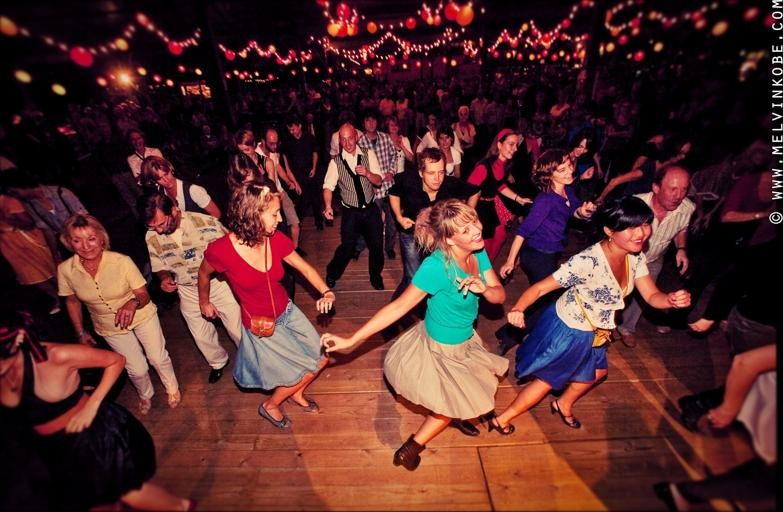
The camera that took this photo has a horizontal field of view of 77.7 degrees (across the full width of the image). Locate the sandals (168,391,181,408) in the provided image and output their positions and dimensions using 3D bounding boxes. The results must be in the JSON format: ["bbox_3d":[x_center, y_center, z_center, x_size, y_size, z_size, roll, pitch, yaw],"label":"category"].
[{"bbox_3d":[-2.675,1.762,5.984,0.090,0.253,0.168,1,53,-16],"label":"sandals"}]

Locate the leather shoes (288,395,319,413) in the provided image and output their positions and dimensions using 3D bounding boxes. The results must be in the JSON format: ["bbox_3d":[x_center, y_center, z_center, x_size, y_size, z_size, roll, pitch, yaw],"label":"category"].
[{"bbox_3d":[-1.058,1.797,5.867,0.384,0.103,0.150,17,37,8],"label":"leather shoes"}]

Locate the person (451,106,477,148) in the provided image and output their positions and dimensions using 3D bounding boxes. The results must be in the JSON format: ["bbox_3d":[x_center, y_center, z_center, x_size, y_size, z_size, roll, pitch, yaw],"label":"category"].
[{"bbox_3d":[1.414,-2.528,9.701,0.504,0.889,0.437,-8,28,-3],"label":"person"}]

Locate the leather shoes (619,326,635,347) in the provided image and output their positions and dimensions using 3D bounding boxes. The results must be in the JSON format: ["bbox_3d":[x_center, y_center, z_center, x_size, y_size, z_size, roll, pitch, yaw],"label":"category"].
[{"bbox_3d":[3.093,1.056,6.377,0.126,0.133,0.324,-11,51,1],"label":"leather shoes"}]

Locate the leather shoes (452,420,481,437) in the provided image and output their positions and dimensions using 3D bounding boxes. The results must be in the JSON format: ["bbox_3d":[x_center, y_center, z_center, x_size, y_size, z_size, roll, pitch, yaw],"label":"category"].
[{"bbox_3d":[0.870,1.969,5.576,0.361,0.149,0.131,6,19,17],"label":"leather shoes"}]

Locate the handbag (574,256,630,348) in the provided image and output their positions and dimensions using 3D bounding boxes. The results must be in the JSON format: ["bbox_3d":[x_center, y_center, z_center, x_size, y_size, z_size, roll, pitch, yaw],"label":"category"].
[{"bbox_3d":[2.194,0.515,5.101,0.682,0.906,0.311,-3,2,4],"label":"handbag"}]

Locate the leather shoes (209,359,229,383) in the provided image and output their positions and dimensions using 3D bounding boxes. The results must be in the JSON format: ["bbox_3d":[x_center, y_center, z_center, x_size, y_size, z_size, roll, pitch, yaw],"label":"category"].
[{"bbox_3d":[-2.223,1.503,6.279,0.132,0.145,0.339,32,68,-2],"label":"leather shoes"}]

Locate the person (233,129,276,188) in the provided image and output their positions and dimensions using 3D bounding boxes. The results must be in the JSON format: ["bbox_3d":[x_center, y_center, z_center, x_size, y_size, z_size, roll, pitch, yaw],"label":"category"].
[{"bbox_3d":[-1.989,-1.394,7.150,0.498,0.875,0.711,14,31,23],"label":"person"}]

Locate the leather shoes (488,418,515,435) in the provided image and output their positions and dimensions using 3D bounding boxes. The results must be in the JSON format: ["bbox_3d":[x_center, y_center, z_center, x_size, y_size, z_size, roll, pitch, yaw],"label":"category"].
[{"bbox_3d":[1.247,1.942,5.545,0.283,0.108,0.163,1,55,-3],"label":"leather shoes"}]

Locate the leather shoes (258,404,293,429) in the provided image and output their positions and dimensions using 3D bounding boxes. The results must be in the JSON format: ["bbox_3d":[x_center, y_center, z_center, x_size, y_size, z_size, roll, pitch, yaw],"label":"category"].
[{"bbox_3d":[-1.379,1.898,5.786,0.465,0.179,0.183,28,7,-4],"label":"leather shoes"}]

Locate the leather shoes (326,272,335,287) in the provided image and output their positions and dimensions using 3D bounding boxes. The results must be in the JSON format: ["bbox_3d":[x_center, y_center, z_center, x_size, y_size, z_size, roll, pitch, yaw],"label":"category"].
[{"bbox_3d":[-0.923,0.377,7.377,0.102,0.229,0.102,-9,11,-16],"label":"leather shoes"}]

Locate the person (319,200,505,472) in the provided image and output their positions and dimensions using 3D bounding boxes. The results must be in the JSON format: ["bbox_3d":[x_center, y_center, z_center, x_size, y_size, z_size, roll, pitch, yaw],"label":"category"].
[{"bbox_3d":[0.486,0.878,5.189,1.529,2.779,1.068,-4,29,-10],"label":"person"}]

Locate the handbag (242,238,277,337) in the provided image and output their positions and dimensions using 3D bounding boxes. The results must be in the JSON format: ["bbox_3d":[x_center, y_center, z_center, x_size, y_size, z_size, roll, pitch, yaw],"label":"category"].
[{"bbox_3d":[-1.433,0.374,5.258,0.335,0.990,0.512,-6,30,-13],"label":"handbag"}]
